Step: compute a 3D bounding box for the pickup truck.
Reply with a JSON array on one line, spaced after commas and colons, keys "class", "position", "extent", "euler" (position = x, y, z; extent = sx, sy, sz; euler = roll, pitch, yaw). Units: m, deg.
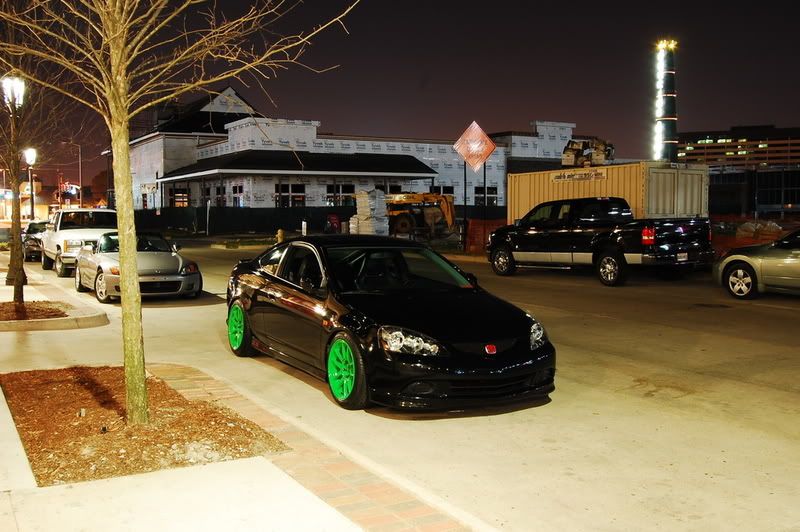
[{"class": "pickup truck", "position": [6.782, -1.165, 19.383], "extent": [3.422, 2.247, 7.663], "euler": [-14, 11, -32]}]
